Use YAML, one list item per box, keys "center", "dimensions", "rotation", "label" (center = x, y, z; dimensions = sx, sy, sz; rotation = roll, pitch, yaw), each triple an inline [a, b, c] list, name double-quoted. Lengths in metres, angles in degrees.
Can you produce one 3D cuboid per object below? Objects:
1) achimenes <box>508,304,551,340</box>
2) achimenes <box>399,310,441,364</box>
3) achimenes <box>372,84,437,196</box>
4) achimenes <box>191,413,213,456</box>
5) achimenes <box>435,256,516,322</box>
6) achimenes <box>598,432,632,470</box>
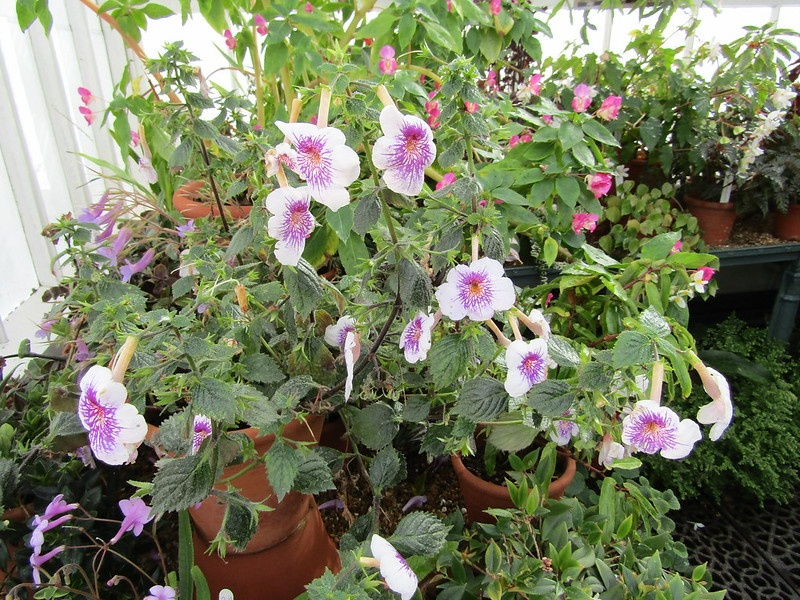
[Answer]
- center: [0.249, 0.052, 1.023]
  dimensions: [0.051, 0.047, 0.083]
  rotation: [27, -15, 2]
  label: "achimenes"
- center: [0.037, 0.073, 1.018]
  dimensions: [0.078, 0.109, 0.069]
  rotation: [5, 15, 1]
  label: "achimenes"
- center: [0.007, -0.241, 0.860]
  dimensions: [0.098, 0.136, 0.058]
  rotation: [5, 15, 2]
  label: "achimenes"
- center: [-0.374, 0.254, 0.992]
  dimensions: [0.035, 0.077, 0.023]
  rotation: [4, 15, -1]
  label: "achimenes"
- center: [0.138, -0.013, 0.965]
  dimensions: [0.122, 0.115, 0.053]
  rotation: [-38, 9, 12]
  label: "achimenes"
- center: [0.449, 0.329, 1.154]
  dimensions: [0.075, 0.074, 0.048]
  rotation: [20, -36, -26]
  label: "achimenes"
